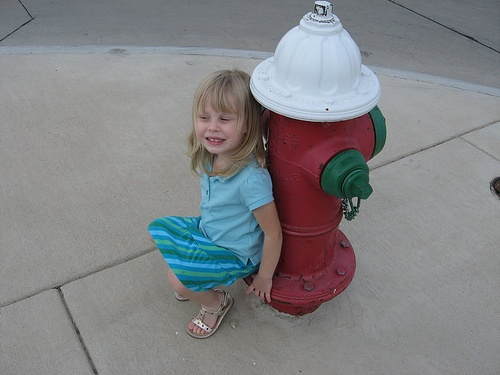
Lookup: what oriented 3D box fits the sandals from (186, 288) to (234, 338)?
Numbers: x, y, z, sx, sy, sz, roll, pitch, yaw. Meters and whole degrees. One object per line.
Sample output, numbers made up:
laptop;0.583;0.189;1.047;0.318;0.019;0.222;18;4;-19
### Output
sandals;-0.233;0.792;2.813;0.154;0.104;0.317;29;76;31
